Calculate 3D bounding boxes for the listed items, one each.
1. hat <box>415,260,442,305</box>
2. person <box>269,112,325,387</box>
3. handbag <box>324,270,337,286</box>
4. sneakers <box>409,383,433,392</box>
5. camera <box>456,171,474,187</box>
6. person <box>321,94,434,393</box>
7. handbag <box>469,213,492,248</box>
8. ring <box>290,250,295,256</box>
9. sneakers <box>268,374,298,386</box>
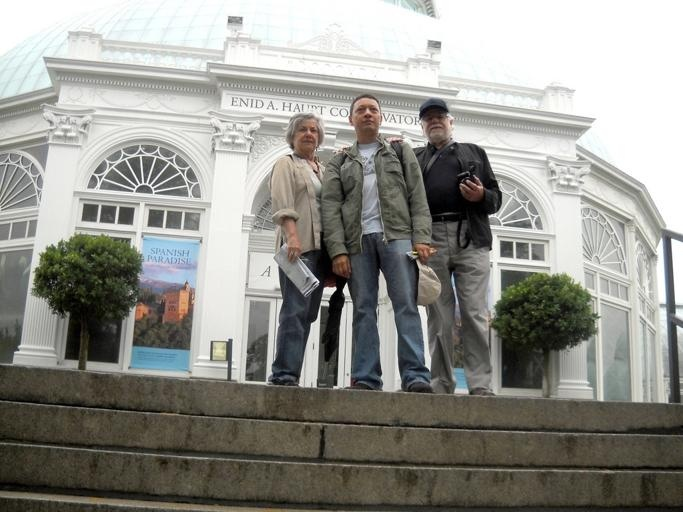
[{"bbox_3d":[0.773,0.248,5.833,0.254,0.459,0.347,2,-14,-8],"label":"hat"},{"bbox_3d":[-0.374,-0.129,5.863,0.564,2.567,0.562,6,-15,-19],"label":"person"},{"bbox_3d":[-0.125,0.219,6.129,0.101,0.040,0.134,-11,-31,-13],"label":"handbag"},{"bbox_3d":[0.644,1.090,5.371,0.199,0.077,0.144,-1,-13,4],"label":"sneakers"},{"bbox_3d":[1.197,-0.740,6.239,0.131,0.061,0.133,-15,2,30],"label":"camera"},{"bbox_3d":[0.302,-0.173,5.816,0.989,2.732,0.393,-1,-14,7],"label":"person"},{"bbox_3d":[1.333,-0.238,6.287,0.269,0.361,0.196,2,-28,-4],"label":"handbag"},{"bbox_3d":[-0.429,-0.025,5.618,0.038,0.053,0.018,9,-28,6],"label":"ring"},{"bbox_3d":[-0.499,1.066,5.516,0.319,0.133,0.108,1,-6,-7],"label":"sneakers"}]
